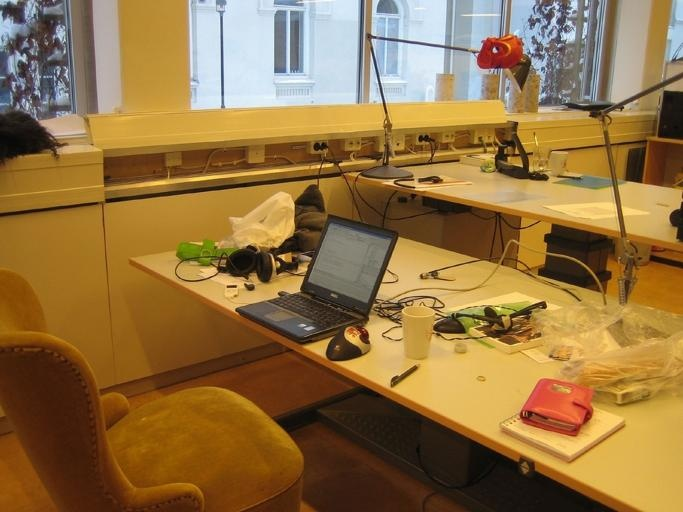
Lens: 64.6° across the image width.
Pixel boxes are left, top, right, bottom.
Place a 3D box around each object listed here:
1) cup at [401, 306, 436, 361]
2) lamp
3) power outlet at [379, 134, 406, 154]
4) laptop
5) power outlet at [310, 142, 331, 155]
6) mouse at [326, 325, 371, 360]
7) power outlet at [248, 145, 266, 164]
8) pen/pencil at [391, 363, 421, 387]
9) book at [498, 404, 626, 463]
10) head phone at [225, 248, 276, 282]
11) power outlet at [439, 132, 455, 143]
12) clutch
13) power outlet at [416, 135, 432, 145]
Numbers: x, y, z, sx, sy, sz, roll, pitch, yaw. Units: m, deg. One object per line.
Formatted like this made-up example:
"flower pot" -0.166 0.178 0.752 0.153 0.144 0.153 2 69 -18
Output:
"cup" 0.209 0.206 1.507 0.137 0.167 0.130 0 4 0
"lamp" 0.553 -0.848 3.062 0.916 0.796 0.575 6 18 26
"power outlet" 0.310 -0.706 3.358 0.108 0.115 0.170 14 21 40
"laptop" -0.062 0.084 1.799 0.459 0.315 0.417 -6 20 -39
"power outlet" -0.118 -0.623 3.101 0.129 0.081 0.065 -14 27 -39
"mouse" 0.029 0.247 1.557 0.153 0.056 0.108 -24 23 -40
"power outlet" -0.455 -0.545 2.862 0.054 0.095 0.101 5 7 44
"pen/pencil" 0.170 0.316 1.425 0.010 0.016 0.109 10 19 30
"book" 0.521 0.396 1.213 0.146 0.030 0.121 -14 19 -35
"head phone" -0.350 0.046 2.080 0.134 0.061 0.166 0 -27 -9
"power outlet" 0.730 -0.822 3.729 0.132 0.088 0.070 -13 19 -37
"clutch" 0.515 0.351 1.272 0.149 0.057 0.172 7 22 23
"power outlet" 0.551 -0.785 3.626 0.048 0.056 0.092 -35 35 -26
